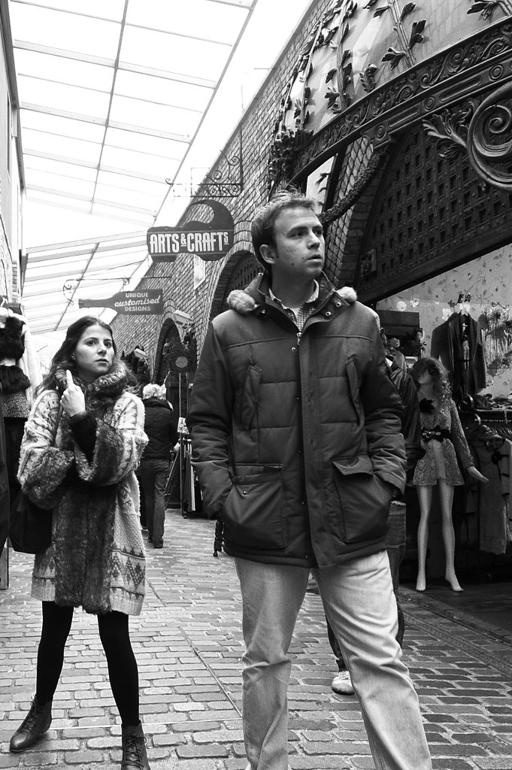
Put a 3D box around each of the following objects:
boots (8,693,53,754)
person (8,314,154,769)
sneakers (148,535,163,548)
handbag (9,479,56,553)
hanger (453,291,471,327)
[{"bbox_3d":[-0.784,1.166,2.338,0.077,0.173,0.233,18,-9,12],"label":"boots"},{"bbox_3d":[-0.569,0.487,2.285,0.515,1.494,0.447,0,-7,5],"label":"person"},{"bbox_3d":[-1.254,1.984,8.462,0.101,0.145,0.326,1,-13,-8],"label":"sneakers"},{"bbox_3d":[-0.744,0.464,2.251,0.136,0.234,0.105,5,20,19],"label":"handbag"},{"bbox_3d":[2.428,-0.890,7.919,0.159,0.450,0.429,-1,-8,16],"label":"hanger"}]
